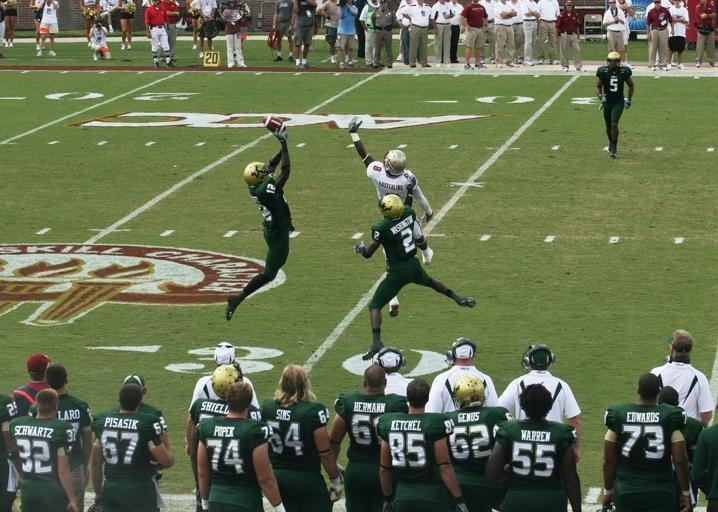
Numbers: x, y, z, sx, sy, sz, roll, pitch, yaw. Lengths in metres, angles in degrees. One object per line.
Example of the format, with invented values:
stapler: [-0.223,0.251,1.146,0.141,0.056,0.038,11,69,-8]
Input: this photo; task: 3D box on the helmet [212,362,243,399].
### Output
helmet: [-1.257,1.216,14.779,0.300,0.339,0.338,4,49,12]

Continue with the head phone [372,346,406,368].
head phone: [0.325,1.035,15.217,0.245,0.147,0.251,-1,-4,-6]

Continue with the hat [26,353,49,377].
hat: [-3.382,1.105,15.507,0.194,0.137,0.261,3,30,-2]

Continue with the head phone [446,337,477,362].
head phone: [1.100,0.951,15.292,0.285,0.189,0.261,1,-23,-2]

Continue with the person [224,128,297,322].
person: [-1.293,-0.437,19.274,0.919,2.540,0.879,-3,6,-12]

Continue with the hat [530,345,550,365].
hat: [1.880,1.000,15.093,0.238,0.188,0.192,-2,0,2]

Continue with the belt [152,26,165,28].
belt: [-5.083,-5.879,37.407,0.319,0.048,0.352,-3,5,-12]

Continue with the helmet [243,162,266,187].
helmet: [-1.333,-1.063,19.020,0.335,0.290,0.228,3,8,42]

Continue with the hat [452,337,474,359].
hat: [1.092,0.945,15.159,0.214,0.214,0.168,1,51,0]

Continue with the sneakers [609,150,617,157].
sneakers: [4.824,-1.949,27.642,0.103,0.087,0.154,7,-9,0]

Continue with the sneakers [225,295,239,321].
sneakers: [-1.685,0.683,19.700,0.136,0.335,0.249,13,39,7]

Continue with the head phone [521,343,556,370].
head phone: [1.870,1.014,15.112,0.277,0.275,0.251,-1,-1,7]

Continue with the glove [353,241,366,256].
glove: [0.035,-0.107,18.585,0.108,0.124,0.267,-2,-6,-5]

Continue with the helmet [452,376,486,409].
helmet: [1.116,1.340,14.611,0.299,0.251,0.339,-4,7,-3]

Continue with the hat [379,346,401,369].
hat: [0.339,1.040,15.193,0.230,0.169,0.230,-1,-7,-4]

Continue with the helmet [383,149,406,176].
helmet: [0.571,-1.288,19.723,0.297,0.321,0.315,-7,-9,-18]

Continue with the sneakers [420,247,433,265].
sneakers: [0.926,-0.073,19.999,0.118,0.140,0.305,2,33,12]

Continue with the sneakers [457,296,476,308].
sneakers: [1.402,0.569,18.767,0.209,0.069,0.158,14,-1,-6]

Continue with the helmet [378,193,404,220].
helmet: [0.438,-0.632,18.333,0.307,0.296,0.304,-2,6,1]

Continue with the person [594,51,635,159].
person: [4.752,-2.852,27.018,0.647,1.795,0.862,-1,6,10]

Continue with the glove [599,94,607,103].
glove: [4.513,-2.898,26.914,0.126,0.118,0.143,-1,-3,5]
